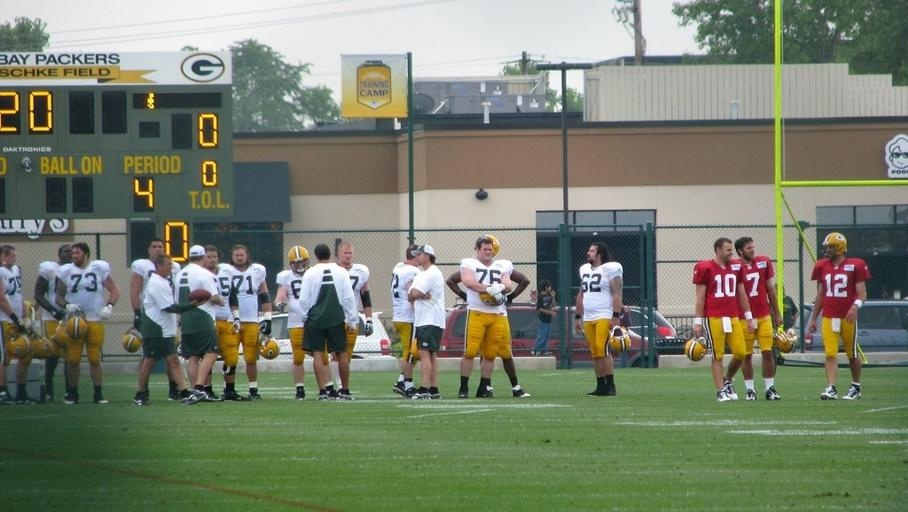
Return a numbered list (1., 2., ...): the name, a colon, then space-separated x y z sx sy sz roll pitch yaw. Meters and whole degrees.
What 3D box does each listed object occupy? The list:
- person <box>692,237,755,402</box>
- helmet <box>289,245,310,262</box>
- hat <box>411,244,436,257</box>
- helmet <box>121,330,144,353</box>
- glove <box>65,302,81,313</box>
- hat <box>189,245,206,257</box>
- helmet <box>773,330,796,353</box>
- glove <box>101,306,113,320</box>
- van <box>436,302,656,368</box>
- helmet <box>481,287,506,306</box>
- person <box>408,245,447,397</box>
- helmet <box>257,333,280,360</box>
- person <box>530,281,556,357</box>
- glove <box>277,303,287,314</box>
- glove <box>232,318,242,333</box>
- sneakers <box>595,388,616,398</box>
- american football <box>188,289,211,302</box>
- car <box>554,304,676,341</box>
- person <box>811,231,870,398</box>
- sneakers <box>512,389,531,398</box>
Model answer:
1. person: 6.250 1.452 34.831 1.134 3.782 0.812 -3 -2 32
2. helmet: -3.775 -0.025 36.631 0.442 0.467 0.557 -2 15 1
3. hat: -0.657 -0.156 36.035 0.698 0.306 0.425 5 1 15
4. helmet: -7.859 2.144 36.731 0.486 0.583 0.532 6 28 7
5. glove: -9.027 1.203 35.778 0.253 0.244 0.245 -6 38 2
6. hat: -6.055 -0.129 35.658 0.356 0.264 0.423 -1 -2 -10
7. helmet: 7.928 2.032 36.170 0.477 0.450 0.609 -2 -1 2
8. glove: -8.329 1.323 36.159 0.276 0.341 0.665 -1 -2 -13
9. van: 3.243 2.226 42.943 5.084 1.909 2.373 -1 -2 2
10. helmet: 0.930 0.947 35.228 0.504 0.362 0.368 2 -32 25
11. person: -0.633 1.535 35.784 0.805 3.644 0.765 -2 -1 -1
12. helmet: -4.508 2.208 36.783 0.567 0.471 0.451 9 -10 25
13. person: 2.548 1.730 42.526 0.710 2.111 0.954 -2 -2 14
14. glove: -4.161 1.223 36.646 0.168 0.182 0.440 3 -4 -3
15. glove: -5.148 1.640 35.900 0.143 0.322 0.291 -2 -2 17
16. sneakers: 3.623 3.242 35.915 0.513 0.198 0.181 4 -2 -2
17. american football: -5.878 0.901 34.985 0.419 0.241 0.261 1 5 -4
18. car: 4.706 1.967 43.722 1.356 1.184 2.802 8 -9 -28
19. person: 9.033 1.385 35.351 1.252 3.874 0.774 -2 -1 12
20. sneakers: 1.654 3.259 35.962 0.489 0.211 0.166 -1 -2 3
